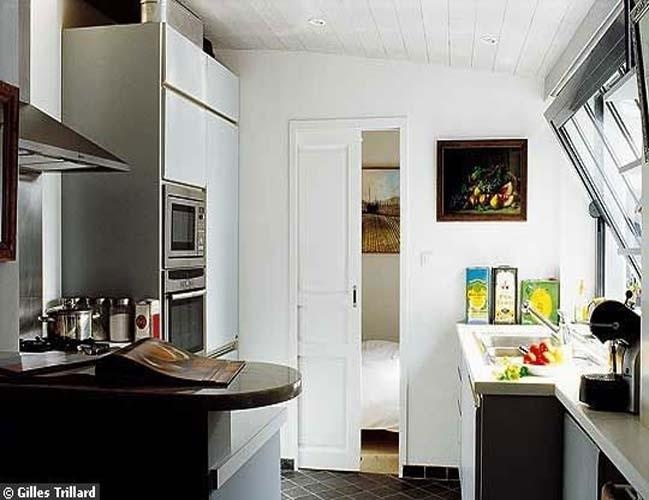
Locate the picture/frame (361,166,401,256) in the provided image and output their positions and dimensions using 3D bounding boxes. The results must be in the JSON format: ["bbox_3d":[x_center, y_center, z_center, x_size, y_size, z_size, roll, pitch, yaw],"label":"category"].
[{"bbox_3d":[0.611,-0.431,5.711,0.446,1.089,0.047,2,-29,2],"label":"picture/frame"}]

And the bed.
[{"bbox_3d":[0.473,1.180,4.536,0.335,0.516,1.082,1,-2,6],"label":"bed"}]

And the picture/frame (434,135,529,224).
[{"bbox_3d":[1.140,-0.511,3.716,0.554,0.594,0.043,0,1,1],"label":"picture/frame"}]

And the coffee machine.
[{"bbox_3d":[1.085,0.392,2.003,0.199,0.404,0.240,0,-3,29],"label":"coffee machine"}]

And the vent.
[{"bbox_3d":[-1.125,-0.450,2.324,0.348,0.152,0.357,-1,0,-26],"label":"vent"}]

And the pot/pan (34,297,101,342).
[{"bbox_3d":[-1.253,0.357,2.628,0.278,0.232,0.215,2,-7,-10],"label":"pot/pan"}]

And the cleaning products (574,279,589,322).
[{"bbox_3d":[1.660,0.327,3.390,0.099,0.277,0.108,-7,16,-2],"label":"cleaning products"}]

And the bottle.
[{"bbox_3d":[-1.110,0.351,2.632,0.364,0.161,0.384,2,-1,0],"label":"bottle"}]
